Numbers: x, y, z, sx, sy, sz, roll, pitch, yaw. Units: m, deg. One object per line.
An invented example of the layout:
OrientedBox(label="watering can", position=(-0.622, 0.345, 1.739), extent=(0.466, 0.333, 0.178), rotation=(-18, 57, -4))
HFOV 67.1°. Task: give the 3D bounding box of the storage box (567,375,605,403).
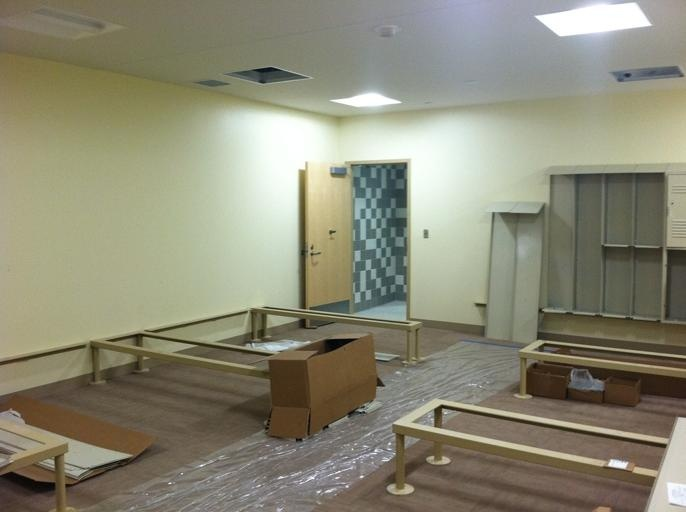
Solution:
OrientedBox(label="storage box", position=(2.451, 1.314, 5.220), extent=(0.297, 0.162, 0.285), rotation=(3, 6, 29))

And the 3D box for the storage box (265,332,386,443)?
OrientedBox(label="storage box", position=(-0.162, 1.162, 4.844), extent=(0.498, 0.618, 1.373), rotation=(-2, 2, 31))

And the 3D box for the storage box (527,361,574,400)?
OrientedBox(label="storage box", position=(2.134, 1.287, 5.361), extent=(0.414, 0.229, 0.408), rotation=(3, 11, 23))

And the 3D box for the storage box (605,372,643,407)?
OrientedBox(label="storage box", position=(2.792, 1.322, 5.135), extent=(0.308, 0.173, 0.310), rotation=(0, 2, 33))
